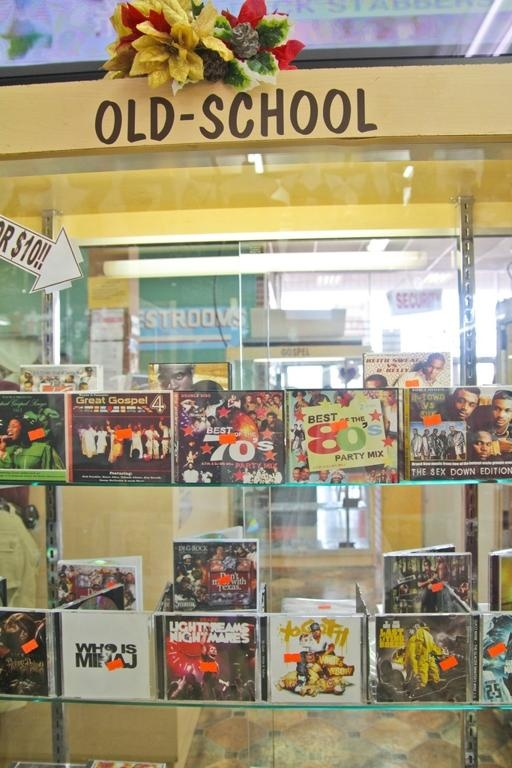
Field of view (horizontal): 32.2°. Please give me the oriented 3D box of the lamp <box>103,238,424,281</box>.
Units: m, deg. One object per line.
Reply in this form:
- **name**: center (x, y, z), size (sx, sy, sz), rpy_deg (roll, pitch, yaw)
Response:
- **lamp**: center (0.018, -0.307, 2.284), size (0.817, 0.059, 0.048), rpy_deg (-2, -1, 4)
